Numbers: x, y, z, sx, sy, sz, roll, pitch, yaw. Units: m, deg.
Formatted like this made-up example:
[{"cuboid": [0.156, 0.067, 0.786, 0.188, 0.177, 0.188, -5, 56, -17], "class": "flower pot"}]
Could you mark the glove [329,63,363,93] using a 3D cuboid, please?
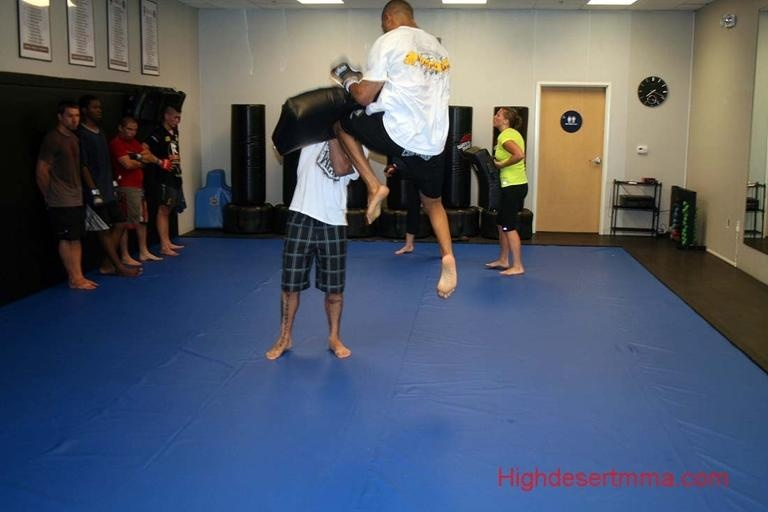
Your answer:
[{"cuboid": [-0.264, -1.229, 3.585, 0.262, 0.147, 0.106, 41, 12, -14], "class": "glove"}]

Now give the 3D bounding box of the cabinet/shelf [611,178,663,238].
[{"cuboid": [4.598, -0.912, 9.499, 0.920, 1.343, 0.491, 0, 7, 4], "class": "cabinet/shelf"}]

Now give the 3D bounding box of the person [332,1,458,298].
[{"cuboid": [0.101, -0.620, 3.676, 0.860, 1.830, 0.355, 0, 14, -7], "class": "person"}]

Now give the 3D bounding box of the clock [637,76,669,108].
[{"cuboid": [4.798, -2.948, 9.324, 0.491, 0.603, 0.077, -1, 2, 12], "class": "clock"}]
